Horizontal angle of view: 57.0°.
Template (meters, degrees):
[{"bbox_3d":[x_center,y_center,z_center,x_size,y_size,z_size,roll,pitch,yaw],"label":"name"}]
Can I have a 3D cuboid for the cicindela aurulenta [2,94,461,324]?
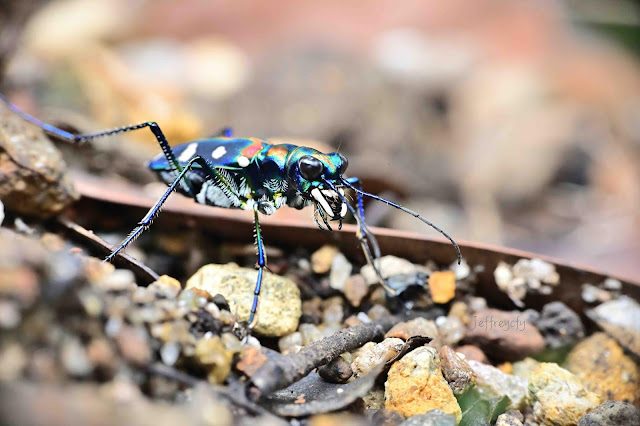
[{"bbox_3d":[-0.469,-0.196,3.386,2.003,0.600,1.519,24,14,33],"label":"cicindela aurulenta"}]
